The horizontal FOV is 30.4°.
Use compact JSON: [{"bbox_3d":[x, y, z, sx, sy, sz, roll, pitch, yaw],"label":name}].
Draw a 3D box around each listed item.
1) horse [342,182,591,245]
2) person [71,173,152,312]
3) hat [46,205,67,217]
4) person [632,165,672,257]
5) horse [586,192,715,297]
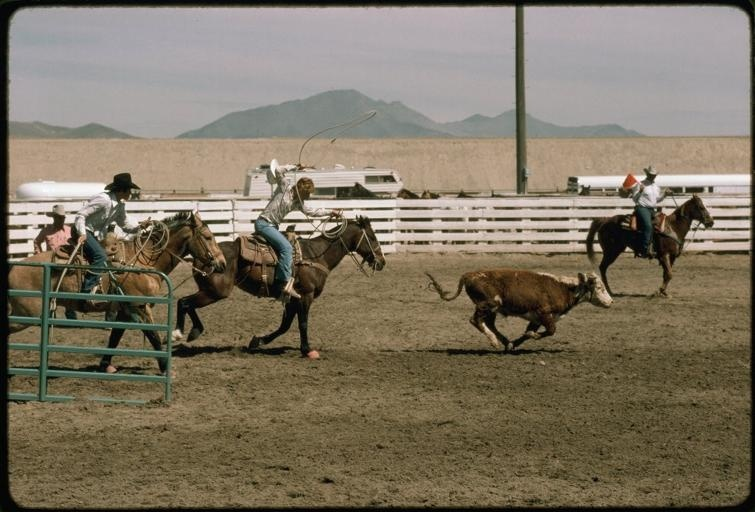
[{"bbox_3d":[2.481,-0.892,35.564,5.516,1.341,0.728,1,4,-2],"label":"horse"},{"bbox_3d":[-4.576,-0.291,23.184,1.096,2.182,1.266,1,4,-9],"label":"person"},{"bbox_3d":[-6.666,-0.923,28.591,0.381,0.175,0.439,1,-7,-12],"label":"hat"},{"bbox_3d":[5.578,-0.888,28.576,0.649,1.897,1.269,2,4,11],"label":"person"},{"bbox_3d":[5.729,-0.158,29.075,2.885,2.096,0.814,0,1,36],"label":"horse"}]
